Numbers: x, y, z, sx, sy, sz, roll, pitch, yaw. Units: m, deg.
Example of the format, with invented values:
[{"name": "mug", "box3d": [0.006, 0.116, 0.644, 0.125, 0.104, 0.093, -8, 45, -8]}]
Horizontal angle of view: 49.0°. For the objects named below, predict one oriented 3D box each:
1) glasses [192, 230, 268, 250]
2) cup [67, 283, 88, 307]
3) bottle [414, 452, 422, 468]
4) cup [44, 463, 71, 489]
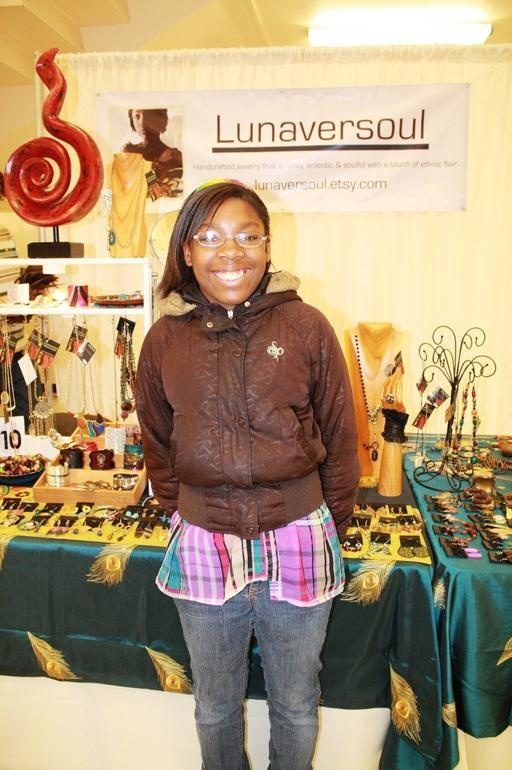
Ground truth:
[{"name": "glasses", "box3d": [-0.048, -0.257, 1.002, 0.125, 0.033, 0.041, -1, 9, -10]}, {"name": "cup", "box3d": [-0.566, -0.282, 1.795, 0.066, 0.077, 0.067, 0, 3, 0]}, {"name": "bottle", "box3d": [0.553, 0.262, 1.920, 0.036, 0.059, 0.035, 4, -10, 1]}, {"name": "cup", "box3d": [-0.600, 0.278, 1.695, 0.062, 0.063, 0.061, 2, -1, 0]}]
